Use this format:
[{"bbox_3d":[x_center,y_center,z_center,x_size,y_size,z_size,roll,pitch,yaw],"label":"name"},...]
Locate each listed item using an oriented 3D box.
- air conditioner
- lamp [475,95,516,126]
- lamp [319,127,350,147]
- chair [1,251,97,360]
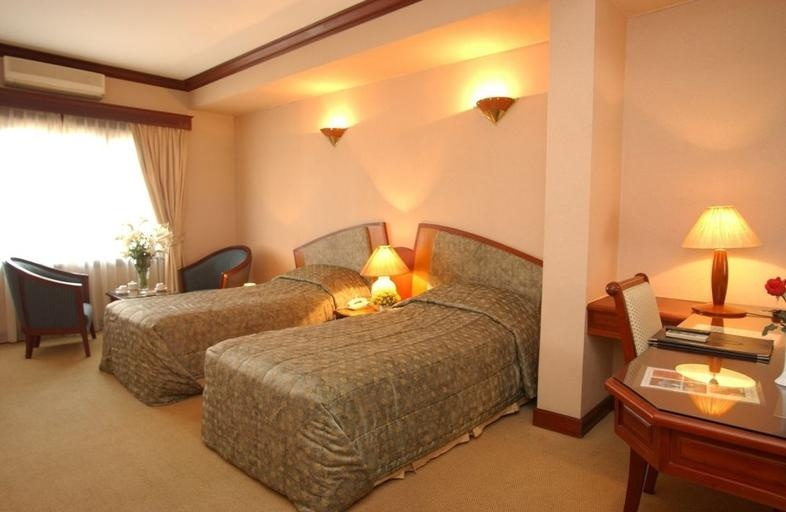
[{"bbox_3d":[-3.853,-2.035,6.063,0.991,0.379,0.191,-7,8,-34],"label":"air conditioner"},{"bbox_3d":[0.986,-1.377,5.018,0.349,0.226,0.128,-2,7,10],"label":"lamp"},{"bbox_3d":[-0.735,-1.419,6.311,0.214,0.208,0.405,-9,8,-42],"label":"lamp"},{"bbox_3d":[-3.687,0.465,6.074,1.061,1.361,1.016,-3,8,-29],"label":"chair"}]
